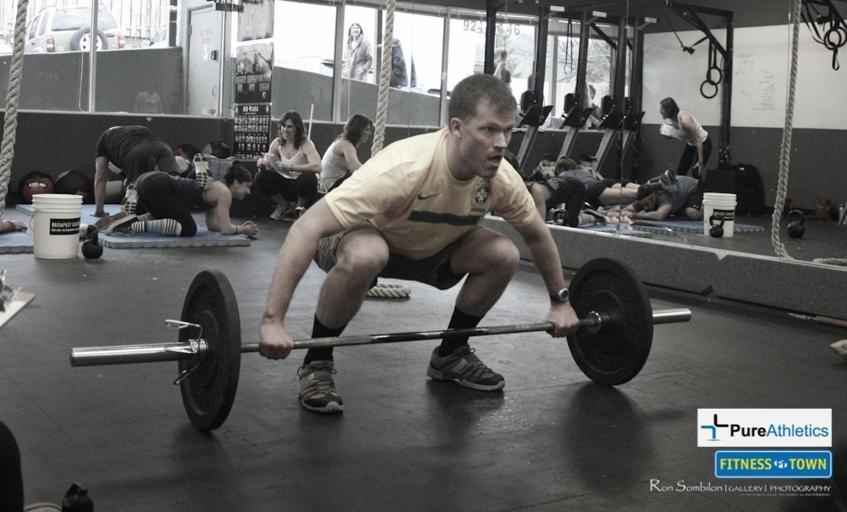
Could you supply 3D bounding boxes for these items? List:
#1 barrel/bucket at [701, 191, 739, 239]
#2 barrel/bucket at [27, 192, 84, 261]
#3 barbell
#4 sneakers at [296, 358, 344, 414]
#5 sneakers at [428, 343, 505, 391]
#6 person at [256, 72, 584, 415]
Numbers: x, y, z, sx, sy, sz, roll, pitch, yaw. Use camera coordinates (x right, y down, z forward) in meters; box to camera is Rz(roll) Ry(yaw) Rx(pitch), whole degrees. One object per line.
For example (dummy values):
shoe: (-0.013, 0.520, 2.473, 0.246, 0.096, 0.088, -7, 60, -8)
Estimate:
barrel/bucket: (2.347, -0.329, 5.085, 0.347, 0.390, 0.347, 2, -2, 0)
barrel/bucket: (-2.966, -0.241, 5.020, 0.338, 0.504, 0.212, -3, 10, -32)
barbell: (-0.049, 0.342, 2.611, 2.372, 0.653, 0.433, 0, 9, -17)
sneakers: (-0.438, 0.539, 2.666, 0.245, 0.156, 0.510, 0, 8, -14)
sneakers: (0.191, 0.530, 2.980, 0.412, 0.191, 0.152, 8, 1, 20)
person: (-0.031, -0.053, 2.759, 1.428, 1.366, 0.907, 0, 9, -26)
